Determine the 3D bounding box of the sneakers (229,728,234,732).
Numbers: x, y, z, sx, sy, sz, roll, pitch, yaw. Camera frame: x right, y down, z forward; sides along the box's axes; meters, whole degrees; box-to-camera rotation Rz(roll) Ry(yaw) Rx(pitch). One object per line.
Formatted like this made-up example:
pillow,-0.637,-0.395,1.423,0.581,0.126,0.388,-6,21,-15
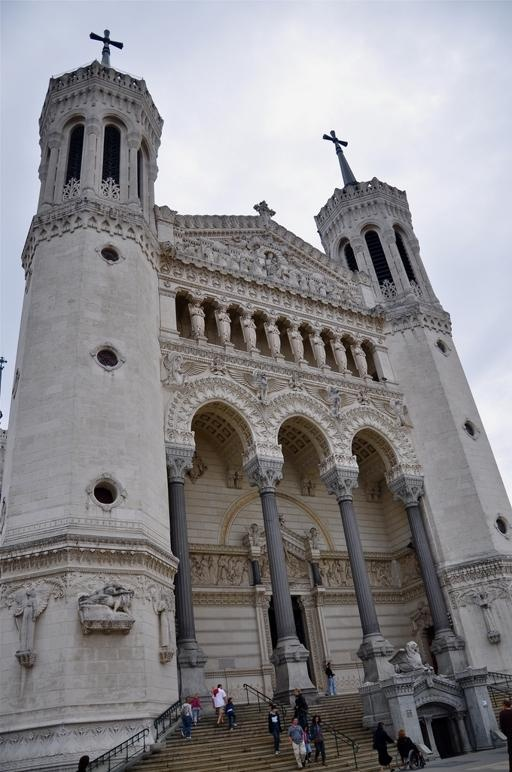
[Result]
sneakers,-0.545,7.562,14.120,0.061,0.040,0.157,1,2,10

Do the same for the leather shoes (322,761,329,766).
leather shoes,1.438,7.820,13.232,0.124,0.125,0.067,2,-49,-9

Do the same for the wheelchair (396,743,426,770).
wheelchair,3.231,7.665,13.257,0.569,0.588,0.434,3,-28,-3
